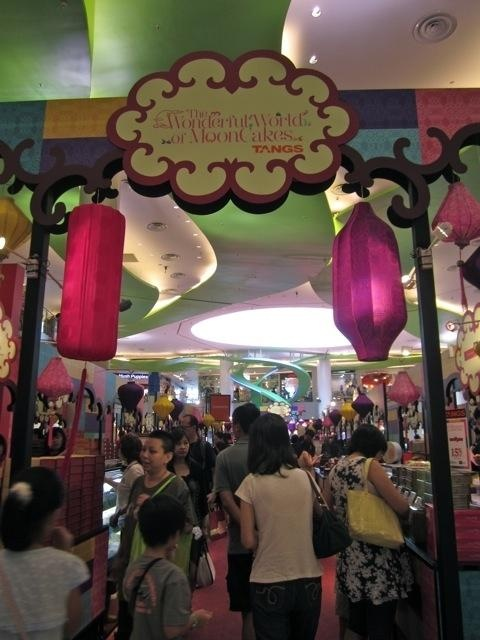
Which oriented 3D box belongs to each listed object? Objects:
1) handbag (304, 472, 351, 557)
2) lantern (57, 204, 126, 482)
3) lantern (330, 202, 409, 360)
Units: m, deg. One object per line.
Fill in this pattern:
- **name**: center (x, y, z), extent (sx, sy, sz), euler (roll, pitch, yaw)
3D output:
- **handbag**: center (0.364, 0.799, 1.822), extent (0.151, 0.426, 0.536), euler (-2, -10, 13)
- **lantern**: center (-0.515, -0.145, 1.601), extent (0.201, 0.585, 0.230), euler (4, -11, -18)
- **lantern**: center (0.449, -0.157, 1.609), extent (0.240, 0.591, 0.149), euler (-4, -11, 20)
